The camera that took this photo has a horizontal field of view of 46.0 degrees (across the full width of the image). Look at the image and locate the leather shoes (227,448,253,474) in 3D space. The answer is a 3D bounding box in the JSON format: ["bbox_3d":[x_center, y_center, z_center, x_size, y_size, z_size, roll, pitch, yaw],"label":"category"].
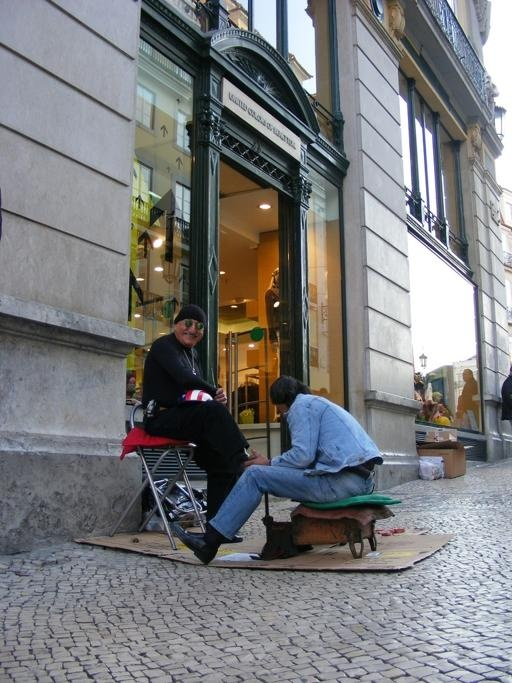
[{"bbox_3d":[-0.097,0.723,3.679,0.128,0.159,0.055,3,-7,6],"label":"leather shoes"}]

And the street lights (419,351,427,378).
[{"bbox_3d":[3.023,0.434,10.873,0.026,0.439,0.534,-5,-11,30],"label":"street lights"}]

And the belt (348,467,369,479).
[{"bbox_3d":[0.600,0.732,3.429,0.067,0.033,0.088,21,-10,-34],"label":"belt"}]

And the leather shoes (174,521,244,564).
[{"bbox_3d":[-0.302,1.111,3.335,0.264,0.214,0.341,5,-11,-26],"label":"leather shoes"}]

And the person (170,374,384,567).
[{"bbox_3d":[0.127,0.787,3.631,1.101,1.213,0.567,-2,-24,11],"label":"person"}]

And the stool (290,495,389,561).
[{"bbox_3d":[0.478,1.035,3.389,0.566,0.332,0.320,-2,-10,6],"label":"stool"}]

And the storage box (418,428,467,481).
[{"bbox_3d":[3.025,1.795,9.827,0.613,0.843,0.770,-4,-8,27],"label":"storage box"}]
